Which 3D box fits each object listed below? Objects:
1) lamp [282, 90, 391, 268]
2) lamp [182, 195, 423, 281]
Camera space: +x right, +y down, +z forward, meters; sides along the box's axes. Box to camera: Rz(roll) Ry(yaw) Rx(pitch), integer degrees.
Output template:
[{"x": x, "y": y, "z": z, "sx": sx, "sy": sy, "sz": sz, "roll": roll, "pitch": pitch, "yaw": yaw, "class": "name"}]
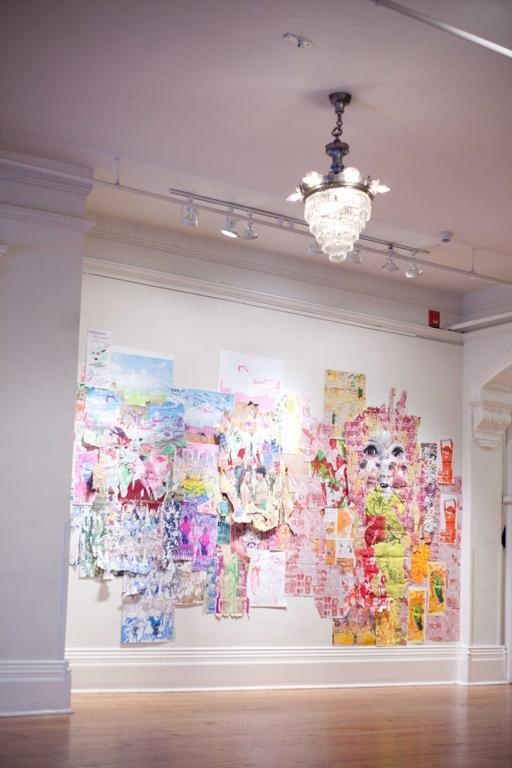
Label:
[{"x": 0.469, "y": -1.066, "z": 3.829, "sx": 0.436, "sy": 0.993, "sz": 1.115, "roll": 1, "pitch": -7, "yaw": 7, "class": "lamp"}, {"x": 0.320, "y": -1.273, "z": 5.566, "sx": 2.159, "sy": 0.260, "sz": 0.183, "roll": 13, "pitch": 4, "yaw": -2, "class": "lamp"}]
